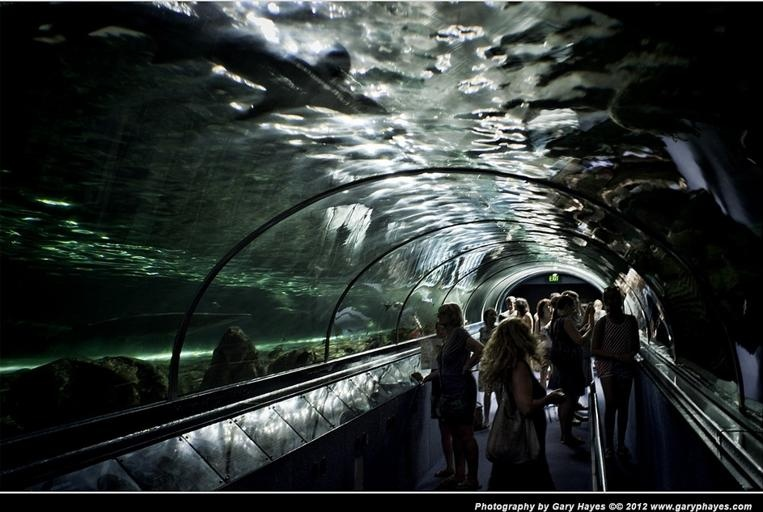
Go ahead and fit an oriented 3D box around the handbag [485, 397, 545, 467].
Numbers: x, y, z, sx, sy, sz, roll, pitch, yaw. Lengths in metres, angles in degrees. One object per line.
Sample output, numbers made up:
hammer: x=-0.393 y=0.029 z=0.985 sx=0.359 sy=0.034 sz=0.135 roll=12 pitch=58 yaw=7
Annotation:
handbag: x=1.491 y=2.204 z=5.357 sx=0.600 sy=0.829 sz=0.333 roll=-2 pitch=-17 yaw=6
